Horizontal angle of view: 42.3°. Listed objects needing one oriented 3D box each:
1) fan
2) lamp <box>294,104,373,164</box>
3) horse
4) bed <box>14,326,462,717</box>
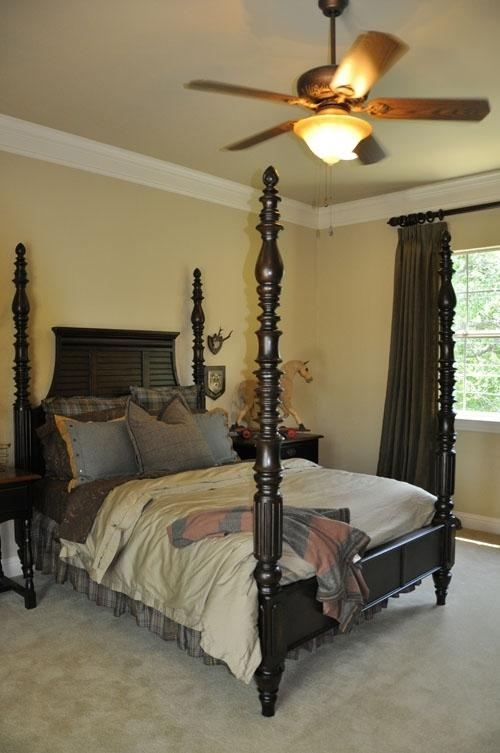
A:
[{"bbox_3d":[0.390,-1.062,2.500,0.773,0.408,0.874,4,4,39],"label":"fan"},{"bbox_3d":[0.351,-0.971,2.628,0.245,0.156,0.237,-1,3,-31],"label":"lamp"},{"bbox_3d":[0.208,0.161,5.460,0.740,0.575,0.167,-3,4,-17],"label":"horse"},{"bbox_3d":[-0.078,0.602,3.291,1.717,1.334,1.751,0,3,42],"label":"bed"}]
